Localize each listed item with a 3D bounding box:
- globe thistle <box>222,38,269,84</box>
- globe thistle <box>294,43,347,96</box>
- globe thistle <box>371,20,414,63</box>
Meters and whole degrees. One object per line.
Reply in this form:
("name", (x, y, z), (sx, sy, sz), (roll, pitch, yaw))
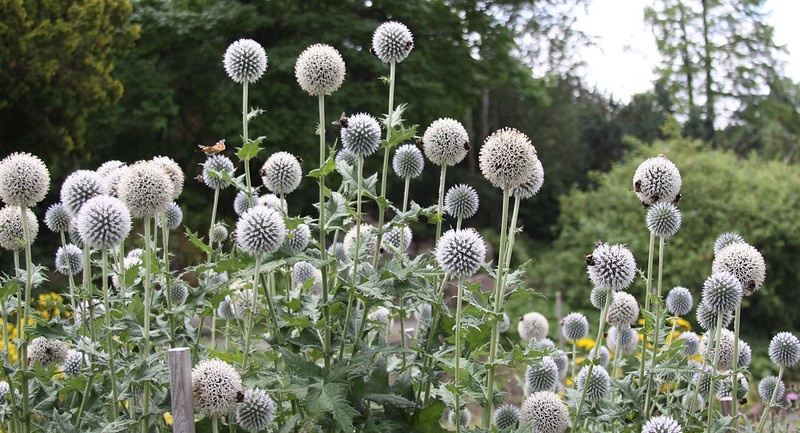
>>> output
("globe thistle", (-3.144, -3.150, 23.623), (0.804, 0.787, 0.780), (-1, -5, -10))
("globe thistle", (-1.617, -3.007, 23.499), (1.064, 1.015, 1.037), (-8, 8, 1))
("globe thistle", (-0.142, -3.572, 23.495), (0.786, 0.927, 0.383), (6, -5, -3))
